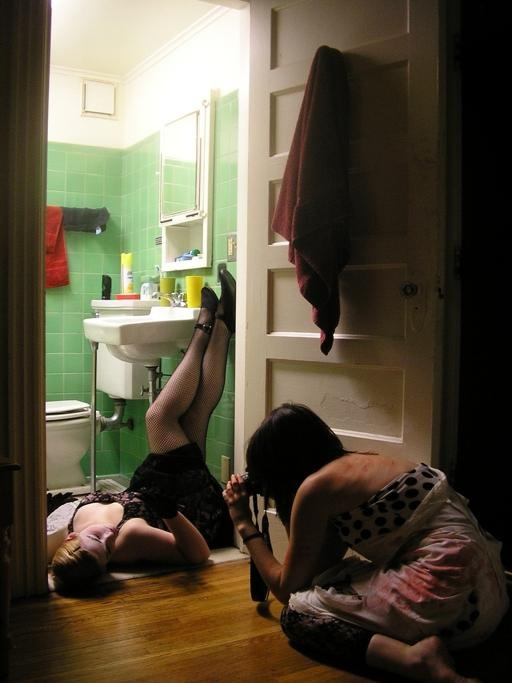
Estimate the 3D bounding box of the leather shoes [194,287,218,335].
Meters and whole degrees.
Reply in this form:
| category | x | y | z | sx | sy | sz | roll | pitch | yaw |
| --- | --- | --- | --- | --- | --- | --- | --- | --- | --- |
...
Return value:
| category | x | y | z | sx | sy | sz | roll | pitch | yaw |
| --- | --- | --- | --- | --- | --- | --- | --- | --- | --- |
| leather shoes | -0.198 | -0.137 | 2.292 | 0.067 | 0.206 | 0.058 | -7 | -22 | 29 |

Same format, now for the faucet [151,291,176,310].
| category | x | y | z | sx | sy | sz | roll | pitch | yaw |
| --- | --- | --- | --- | --- | --- | --- | --- | --- | --- |
| faucet | -0.443 | -0.197 | 2.776 | 0.097 | 0.104 | 0.068 | -1 | 3 | -18 |

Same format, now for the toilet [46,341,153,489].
| category | x | y | z | sx | sy | sz | roll | pitch | yaw |
| --- | --- | --- | --- | --- | --- | --- | --- | --- | --- |
| toilet | -0.951 | 0.342 | 2.989 | 0.706 | 0.801 | 0.404 | 2 | 0 | -35 |

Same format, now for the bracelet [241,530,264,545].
| category | x | y | z | sx | sy | sz | roll | pitch | yaw |
| --- | --- | --- | --- | --- | --- | --- | --- | --- | --- |
| bracelet | -0.004 | 0.472 | 1.379 | 0.030 | 0.018 | 0.044 | -8 | -3 | -12 |

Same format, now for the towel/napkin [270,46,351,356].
| category | x | y | z | sx | sy | sz | roll | pitch | yaw |
| --- | --- | --- | --- | --- | --- | --- | --- | --- | --- |
| towel/napkin | 0.163 | -0.403 | 1.641 | 0.227 | 0.867 | 0.202 | 1 | -6 | 1 |

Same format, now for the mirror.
| category | x | y | z | sx | sy | sz | roll | pitch | yaw |
| --- | --- | --- | --- | --- | --- | --- | --- | --- | --- |
| mirror | -0.356 | -0.835 | 2.707 | 0.048 | 0.690 | 0.571 | 0 | 3 | -28 |

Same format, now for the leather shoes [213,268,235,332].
| category | x | y | z | sx | sy | sz | roll | pitch | yaw |
| --- | --- | --- | --- | --- | --- | --- | --- | --- | --- |
| leather shoes | -0.127 | -0.169 | 2.268 | 0.091 | 0.243 | 0.070 | 2 | -16 | -33 |

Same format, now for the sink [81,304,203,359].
| category | x | y | z | sx | sy | sz | roll | pitch | yaw |
| --- | --- | --- | --- | --- | --- | --- | --- | --- | --- |
| sink | -0.523 | -0.012 | 2.479 | 0.352 | 0.288 | 0.503 | -4 | 7 | -33 |
